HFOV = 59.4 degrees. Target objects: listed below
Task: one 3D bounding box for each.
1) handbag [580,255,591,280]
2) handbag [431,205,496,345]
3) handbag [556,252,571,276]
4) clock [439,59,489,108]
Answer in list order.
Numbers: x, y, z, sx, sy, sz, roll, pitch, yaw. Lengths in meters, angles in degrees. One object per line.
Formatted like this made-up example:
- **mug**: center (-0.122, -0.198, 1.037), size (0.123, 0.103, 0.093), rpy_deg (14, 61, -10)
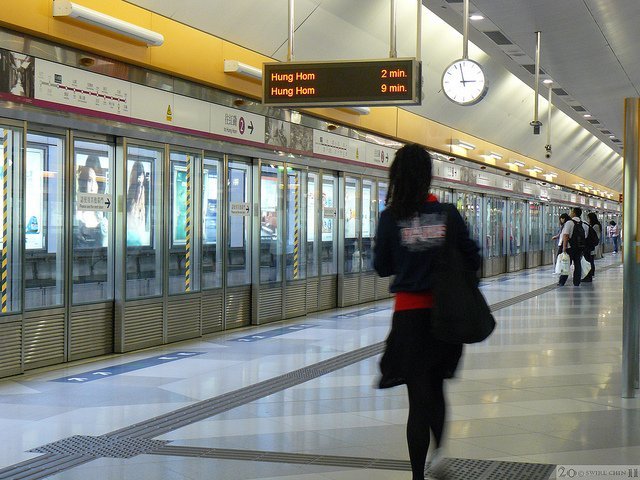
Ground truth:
- **handbag**: center (7.807, 0.808, 16.610), size (0.405, 0.553, 0.764), rpy_deg (11, -2, 27)
- **handbag**: center (0.871, 0.241, 3.564), size (0.423, 0.779, 0.365), rpy_deg (-1, 11, 4)
- **handbag**: center (6.562, 0.640, 15.227), size (0.306, 0.654, 0.388), rpy_deg (0, 1, 14)
- **clock**: center (2.645, -2.972, 10.593), size (0.913, 0.831, 0.274), rpy_deg (-5, 13, -12)
